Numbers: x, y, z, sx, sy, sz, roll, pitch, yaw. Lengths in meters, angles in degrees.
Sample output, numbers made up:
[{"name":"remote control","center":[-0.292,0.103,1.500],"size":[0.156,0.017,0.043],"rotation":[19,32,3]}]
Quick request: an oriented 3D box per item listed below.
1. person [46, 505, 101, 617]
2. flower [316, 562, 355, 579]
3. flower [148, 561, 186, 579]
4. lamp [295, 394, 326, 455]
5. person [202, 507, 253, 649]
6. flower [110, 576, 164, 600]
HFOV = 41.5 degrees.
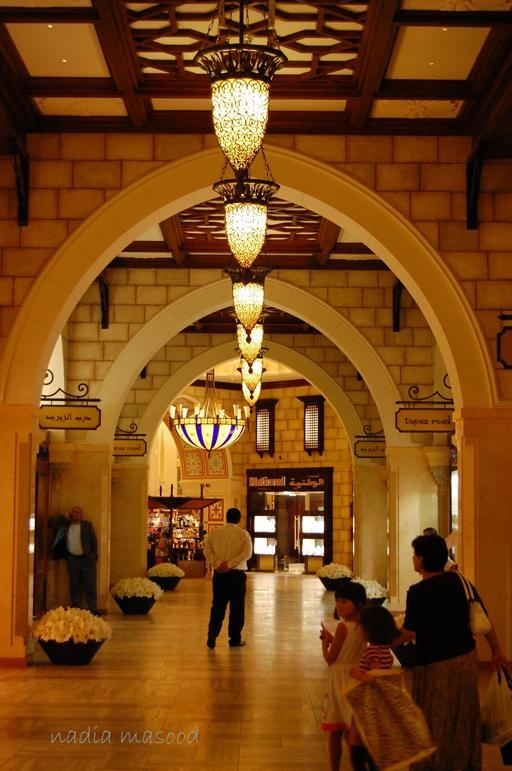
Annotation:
[{"name":"person","center":[-2.490,2.410,9.200],"size":[0.709,1.399,0.643],"rotation":[5,-13,-16]},{"name":"flower","center":[1.518,3.604,13.002],"size":[0.408,0.230,0.403],"rotation":[1,-6,21]},{"name":"flower","center":[-1.859,3.905,14.121],"size":[0.400,0.229,0.442],"rotation":[0,-11,17]},{"name":"lamp","center":[1.672,1.152,19.413],"size":[0.304,1.742,0.863],"rotation":[12,-16,-39]},{"name":"person","center":[-0.321,2.077,7.263],"size":[0.477,1.433,0.697],"rotation":[2,-12,-4]},{"name":"flower","center":[-1.810,3.060,10.097],"size":[0.459,0.200,0.440],"rotation":[2,-8,13]}]
